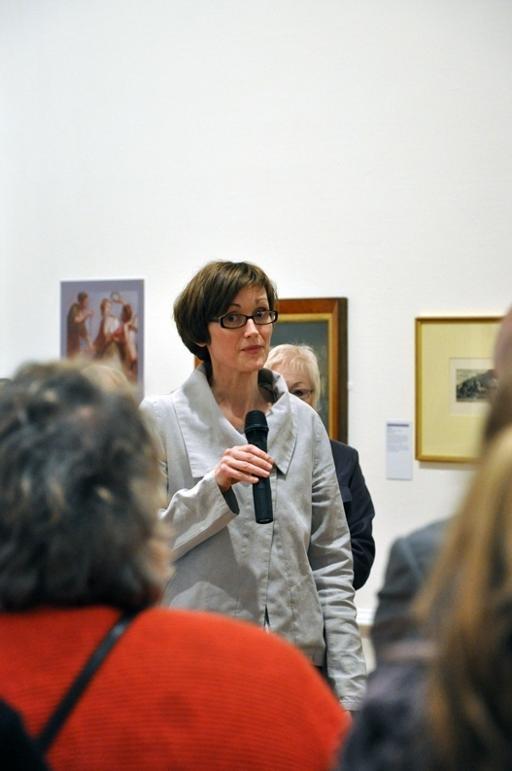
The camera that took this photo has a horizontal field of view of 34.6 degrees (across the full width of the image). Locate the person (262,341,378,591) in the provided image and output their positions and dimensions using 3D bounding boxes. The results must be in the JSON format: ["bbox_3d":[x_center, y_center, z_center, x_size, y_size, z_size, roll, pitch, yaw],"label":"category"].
[{"bbox_3d":[0.163,0.423,3.421,0.459,1.083,0.392,13,18,28],"label":"person"}]

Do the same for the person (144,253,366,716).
[{"bbox_3d":[-0.011,0.496,2.217,0.600,1.584,0.531,-2,3,-8],"label":"person"}]
